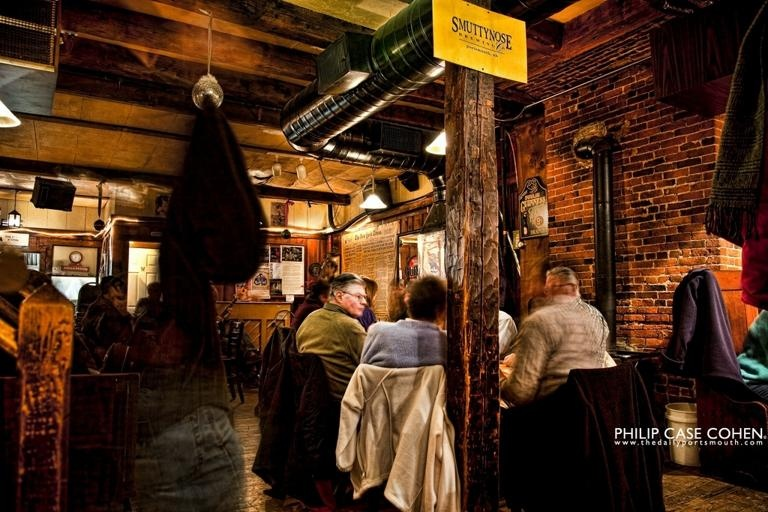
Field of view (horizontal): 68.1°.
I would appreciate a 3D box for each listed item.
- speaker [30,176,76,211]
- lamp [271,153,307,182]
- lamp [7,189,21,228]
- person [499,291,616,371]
[{"bbox_3d":[-6.005,-1.081,10.344,0.748,0.705,0.694,6,26,-33],"label":"speaker"},{"bbox_3d":[-1.578,-1.509,9.541,0.465,0.404,0.179,2,2,-19],"label":"lamp"},{"bbox_3d":[-7.905,-0.997,12.243,0.243,0.749,0.766,6,-8,-32],"label":"lamp"},{"bbox_3d":[1.305,0.562,4.196,0.766,0.296,0.640,-4,-6,35],"label":"person"}]
